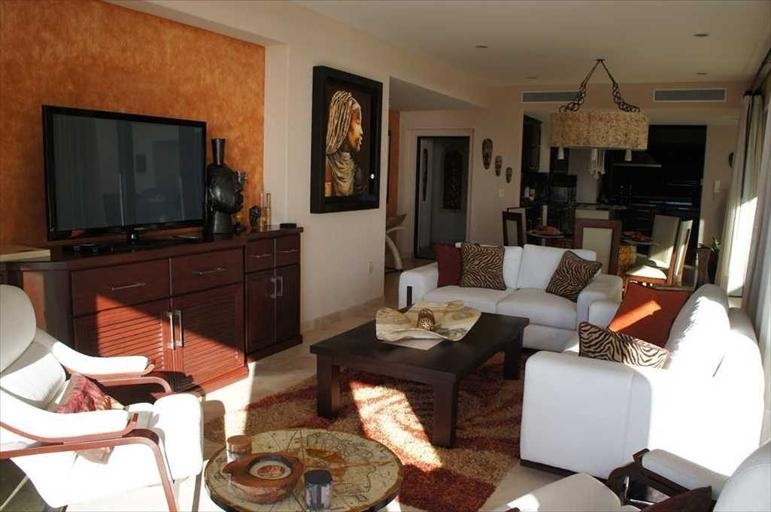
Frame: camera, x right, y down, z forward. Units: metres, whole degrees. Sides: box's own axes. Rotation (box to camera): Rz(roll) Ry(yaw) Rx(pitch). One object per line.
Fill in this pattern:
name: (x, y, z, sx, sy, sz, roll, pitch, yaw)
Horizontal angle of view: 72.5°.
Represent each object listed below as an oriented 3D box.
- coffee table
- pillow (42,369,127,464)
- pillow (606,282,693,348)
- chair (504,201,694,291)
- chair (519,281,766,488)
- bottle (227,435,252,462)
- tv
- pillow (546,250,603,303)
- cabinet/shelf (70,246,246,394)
coffee table: (0.163, 0.796, 4.085, 0.999, 0.418, 1.366, 3, 8, 27)
pillow: (-1.789, 0.907, 3.119, 0.535, 0.144, 0.383, 52, 13, 31)
pillow: (2.082, 0.424, 4.105, 0.161, 0.479, 0.525, 30, -6, -37)
chair: (3.317, -0.080, 7.197, 1.417, 0.766, 1.410, 4, 9, 25)
chair: (1.684, 0.883, 3.435, 1.092, 0.764, 1.547, 5, 10, 35)
bottle: (-0.792, 1.035, 2.880, 0.115, 0.102, 0.151, 8, 14, 28)
tv: (-2.103, -0.616, 4.167, 0.116, 0.898, 1.316, 9, 11, 33)
pillow: (1.971, 0.232, 5.553, 0.165, 0.509, 0.525, 27, 4, -36)
cabinet/shelf: (-1.803, 0.493, 4.077, 0.498, 1.049, 1.215, 3, 8, 34)
